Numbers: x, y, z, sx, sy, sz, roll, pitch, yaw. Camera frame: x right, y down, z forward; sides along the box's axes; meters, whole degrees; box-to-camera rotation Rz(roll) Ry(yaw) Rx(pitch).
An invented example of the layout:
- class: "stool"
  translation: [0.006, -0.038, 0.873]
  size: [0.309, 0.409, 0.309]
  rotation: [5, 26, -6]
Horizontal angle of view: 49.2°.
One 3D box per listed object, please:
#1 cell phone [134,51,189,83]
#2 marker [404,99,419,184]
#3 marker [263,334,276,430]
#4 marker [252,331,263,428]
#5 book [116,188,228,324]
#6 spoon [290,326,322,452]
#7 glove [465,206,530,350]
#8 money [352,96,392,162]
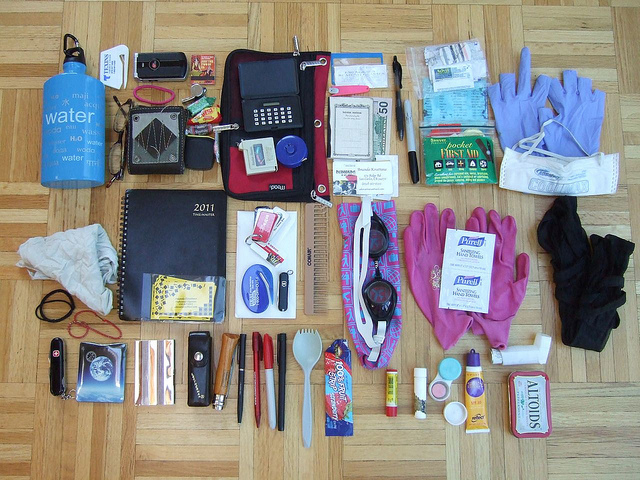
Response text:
- class: "cell phone"
  translation: [-0.624, -0.685, 2.729]
  size: [0.178, 0.055, 0.117]
  rotation: [-1, 87, -3]
- class: "marker"
  translation: [0.352, -0.396, 2.746]
  size: [0.032, 0.038, 0.379]
  rotation: [-10, 78, 28]
- class: "marker"
  translation: [-0.197, 0.527, 2.620]
  size: [0.044, 0.043, 0.351]
  rotation: [-3, 81, -10]
- class: "marker"
  translation: [-0.246, 0.517, 2.607]
  size: [0.043, 0.046, 0.334]
  rotation: [2, 81, -33]
- class: "book"
  translation: [-0.564, 0.059, 2.682]
  size: [0.423, 0.043, 0.508]
  rotation: [1, 83, 0]
- class: "spoon"
  translation: [-0.052, 0.544, 2.603]
  size: [0.097, 0.057, 0.473]
  rotation: [2, 83, -9]
- class: "glove"
  translation: [0.703, 0.148, 2.652]
  size: [0.250, 0.075, 0.514]
  rotation: [6, 85, 2]
- class: "money"
  translation: [0.247, -0.450, 2.752]
  size: [0.075, 0.026, 0.230]
  rotation: [1, 83, 0]
